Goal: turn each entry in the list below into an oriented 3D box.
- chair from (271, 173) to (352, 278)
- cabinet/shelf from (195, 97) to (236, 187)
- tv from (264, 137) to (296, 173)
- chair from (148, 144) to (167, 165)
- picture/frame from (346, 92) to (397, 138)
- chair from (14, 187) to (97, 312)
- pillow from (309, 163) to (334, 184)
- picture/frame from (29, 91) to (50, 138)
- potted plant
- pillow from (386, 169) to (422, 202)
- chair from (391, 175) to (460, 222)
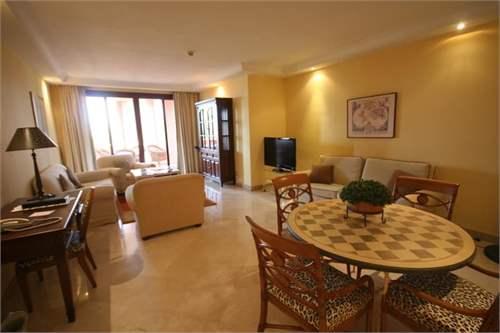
[{"bbox_3d":[0.763,0.703,4.115,0.836,1.058,0.832,-6,11,-8],"label":"chair"},{"bbox_3d":[-0.818,-0.584,8.047,0.426,2.042,1.161,-8,11,-31],"label":"cabinet/shelf"},{"bbox_3d":[0.754,-0.227,6.739,0.295,0.703,1.039,3,4,-17],"label":"tv"},{"bbox_3d":[-2.764,-0.361,9.970,0.388,0.446,0.406,13,2,41],"label":"chair"},{"bbox_3d":[2.117,-0.880,5.639,0.030,0.685,0.850,-14,16,-38],"label":"picture/frame"},{"bbox_3d":[-2.500,1.064,4.260,0.956,1.235,0.795,-10,3,-24],"label":"chair"},{"bbox_3d":[1.317,0.147,6.008,0.377,0.337,0.139,5,-20,37],"label":"pillow"},{"bbox_3d":[-3.771,-0.931,5.901,0.693,0.701,0.027,21,27,37],"label":"picture/frame"},{"bbox_3d":[1.309,0.395,3.779,0.580,0.470,0.559,10,5,6],"label":"potted plant"},{"bbox_3d":[2.360,0.295,5.150,0.134,0.393,0.429,20,11,-9],"label":"pillow"},{"bbox_3d":[2.232,0.413,4.195,0.471,0.734,0.449,-19,24,-27],"label":"chair"}]
